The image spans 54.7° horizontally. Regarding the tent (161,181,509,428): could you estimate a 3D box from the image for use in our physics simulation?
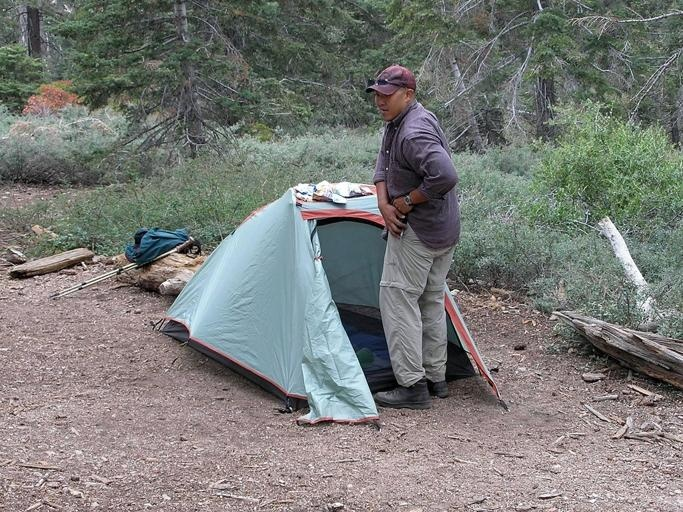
[{"bbox_3d":[-0.461,0.497,7.184,2.402,1.661,3.066,-7,14,-39],"label":"tent"}]

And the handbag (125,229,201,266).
[{"bbox_3d":[-2.447,-0.193,8.876,0.540,0.263,0.677,10,15,31],"label":"handbag"}]

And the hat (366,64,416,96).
[{"bbox_3d":[0.447,-1.604,6.066,0.419,0.241,0.271,6,16,-4],"label":"hat"}]

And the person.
[{"bbox_3d":[0.674,-0.143,6.147,0.822,3.157,0.506,1,11,9],"label":"person"}]

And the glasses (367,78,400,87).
[{"bbox_3d":[0.380,-1.565,5.993,0.298,0.070,0.133,4,11,28],"label":"glasses"}]

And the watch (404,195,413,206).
[{"bbox_3d":[0.606,-0.502,5.944,0.074,0.048,0.071,42,-7,22],"label":"watch"}]
